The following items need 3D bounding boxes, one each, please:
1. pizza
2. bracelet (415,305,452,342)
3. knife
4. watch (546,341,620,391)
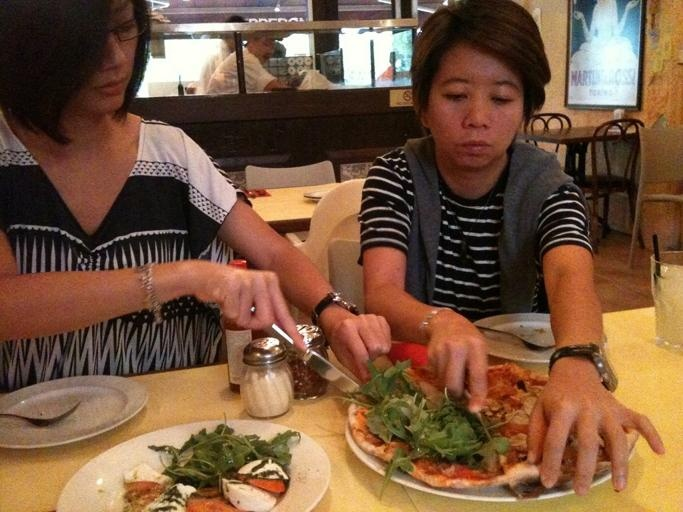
[{"bbox_3d":[0.249,0.307,0.926,0.237,0.035,0.229,-9,16,-31],"label":"pizza"},{"bbox_3d":[0.209,0.154,1.252,0.023,0.075,0.077,23,13,21],"label":"bracelet"},{"bbox_3d":[-0.048,0.223,1.125,0.031,0.217,0.019,-48,4,-2],"label":"knife"},{"bbox_3d":[0.457,0.202,1.042,0.101,0.103,0.044,-9,44,38],"label":"watch"}]
